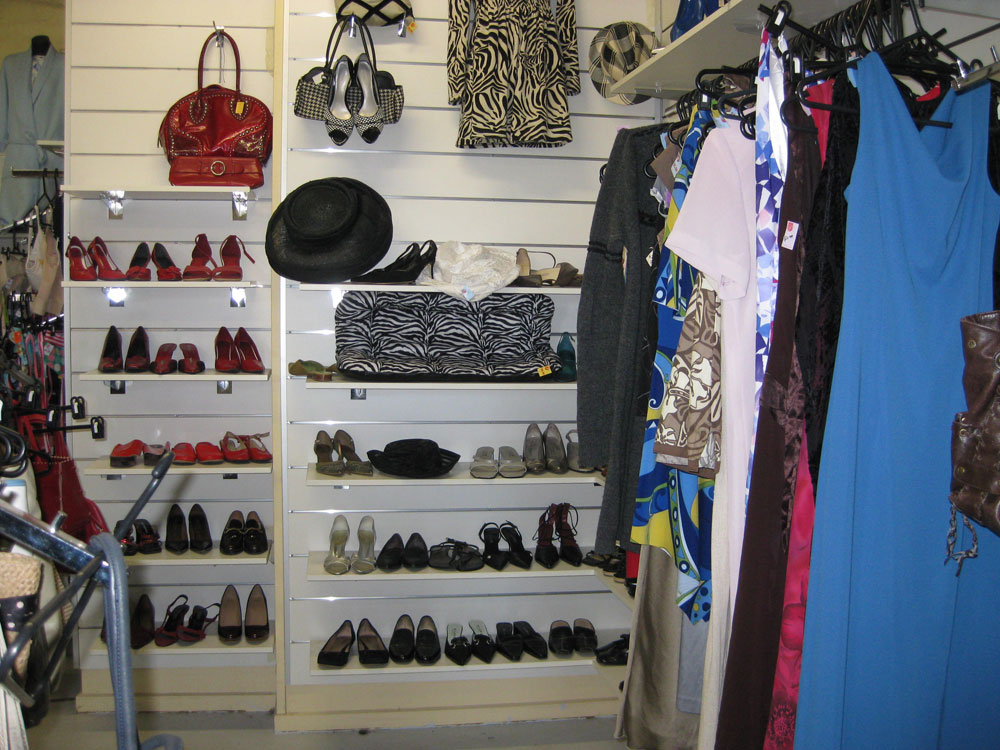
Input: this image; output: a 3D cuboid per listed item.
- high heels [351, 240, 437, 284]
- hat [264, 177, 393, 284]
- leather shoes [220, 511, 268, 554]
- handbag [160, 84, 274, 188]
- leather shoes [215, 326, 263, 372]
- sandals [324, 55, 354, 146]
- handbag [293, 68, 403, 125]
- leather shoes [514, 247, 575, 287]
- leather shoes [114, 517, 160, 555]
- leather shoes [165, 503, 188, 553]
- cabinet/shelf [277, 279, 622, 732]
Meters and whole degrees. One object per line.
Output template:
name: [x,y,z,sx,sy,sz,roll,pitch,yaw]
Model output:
high heels: [-0.431,-0.463,3.592,0.374,0.193,0.141,-7,10,-18]
hat: [-0.646,-0.558,3.479,0.475,0.409,0.227,-2,3,-17]
leather shoes: [-1.051,0.647,3.759,0.117,0.079,0.230,0,10,-12]
handbag: [-1.124,-0.944,3.615,0.376,0.446,0.214,0,-2,-1]
leather shoes: [-1.074,-0.108,3.728,0.126,0.109,0.245,-3,18,-20]
sandals: [-0.629,-1.067,3.521,0.106,0.313,0.127,-3,4,-32]
handbag: [-0.594,-1.082,3.699,0.437,0.213,0.184,-1,-2,-5]
leather shoes: [0.180,-0.403,3.619,0.210,0.082,0.158,7,11,-18]
leather shoes: [-1.454,0.653,3.699,0.141,0.114,0.179,-3,4,-27]
leather shoes: [-1.317,0.640,3.722,0.067,0.236,0.061,0,-22,-19]
cabinet/shelf: [-0.251,0.511,3.655,1.439,1.964,0.404,0,3,-13]
